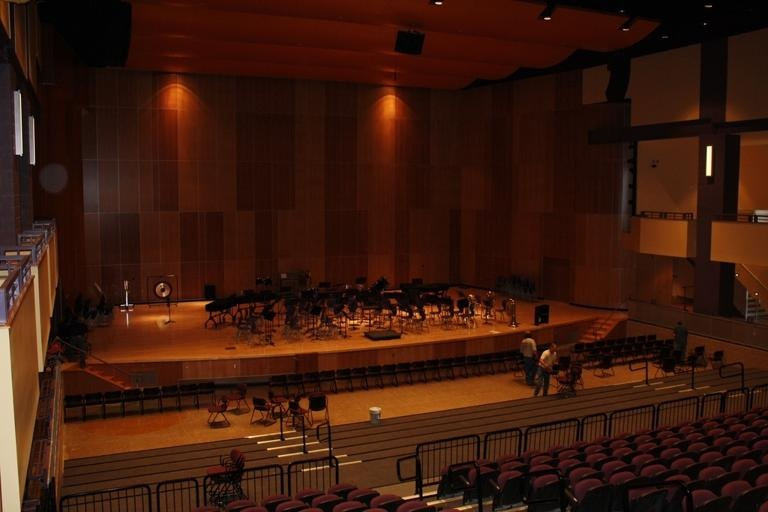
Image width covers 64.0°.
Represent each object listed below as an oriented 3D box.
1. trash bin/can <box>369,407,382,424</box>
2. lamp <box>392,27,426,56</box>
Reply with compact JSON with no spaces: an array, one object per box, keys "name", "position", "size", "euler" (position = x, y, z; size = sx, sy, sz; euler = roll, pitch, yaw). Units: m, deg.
[{"name":"trash bin/can","position":[-0.218,4.572,17.776],"size":[0.368,0.376,0.370],"euler":[1,-88,21]},{"name":"lamp","position":[0.905,-7.796,22.380],"size":[1.036,0.945,0.820],"euler":[0,-72,-10]}]
